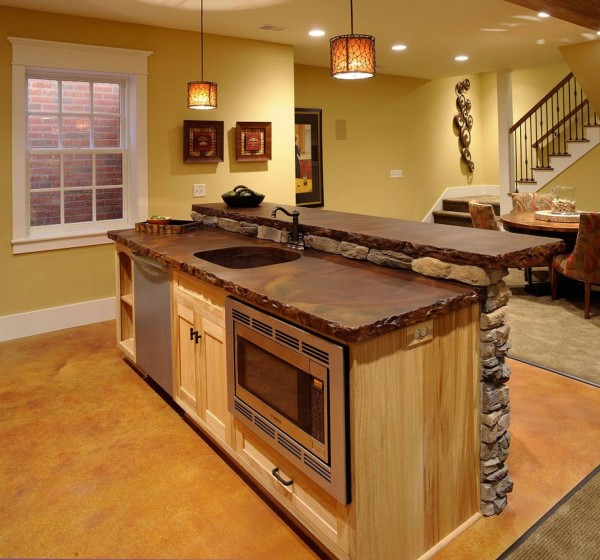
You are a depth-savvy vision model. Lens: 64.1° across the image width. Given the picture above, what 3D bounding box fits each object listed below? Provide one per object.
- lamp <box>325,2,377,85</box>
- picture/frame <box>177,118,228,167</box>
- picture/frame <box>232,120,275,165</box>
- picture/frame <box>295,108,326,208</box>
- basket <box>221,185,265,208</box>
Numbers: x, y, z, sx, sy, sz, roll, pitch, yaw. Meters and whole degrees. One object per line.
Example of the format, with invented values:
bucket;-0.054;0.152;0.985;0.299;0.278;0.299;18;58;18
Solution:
lamp;0.278;-1.194;2.537;0.215;0.232;0.225;-7;14;-25
picture/frame;-0.960;-1.346;4.624;0.477;0.495;0.051;-5;10;-35
picture/frame;-0.503;-1.430;4.926;0.459;0.461;0.049;-6;10;-35
picture/frame;0.106;-1.583;6.206;0.173;1.246;0.539;8;16;38
basket;-0.411;-0.614;3.504;0.266;0.151;0.199;6;15;30
